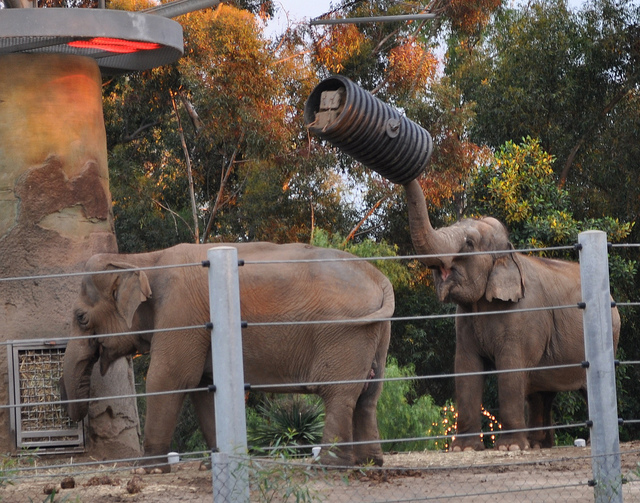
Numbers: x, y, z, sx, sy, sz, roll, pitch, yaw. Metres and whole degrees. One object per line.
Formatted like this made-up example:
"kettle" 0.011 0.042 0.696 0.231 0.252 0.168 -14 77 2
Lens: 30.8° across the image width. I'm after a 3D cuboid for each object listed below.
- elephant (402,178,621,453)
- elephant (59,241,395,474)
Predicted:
"elephant" 2.050 0.912 12.852 3.007 2.863 1.090 13 -11 -31
"elephant" -0.845 1.003 11.246 3.126 2.272 0.828 -2 -8 4
